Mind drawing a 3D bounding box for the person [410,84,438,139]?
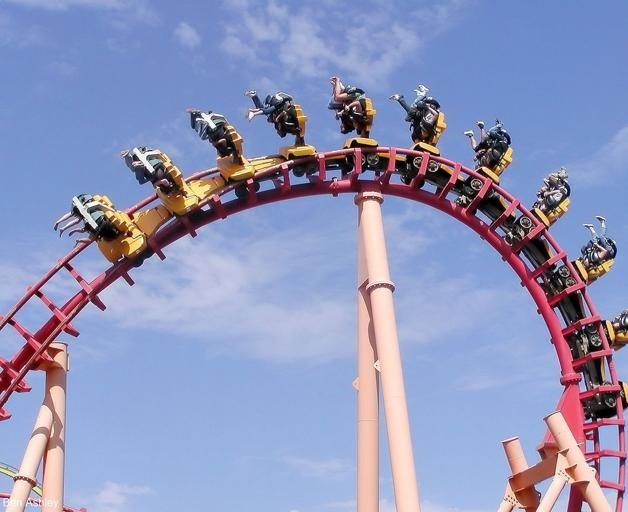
[{"bbox_3d":[2.340,-3.009,16.419,0.585,1.307,0.713,8,-35,-11],"label":"person"}]

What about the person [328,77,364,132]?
[{"bbox_3d":[0.678,-3.169,15.974,0.690,0.873,0.933,0,-33,1],"label":"person"}]
